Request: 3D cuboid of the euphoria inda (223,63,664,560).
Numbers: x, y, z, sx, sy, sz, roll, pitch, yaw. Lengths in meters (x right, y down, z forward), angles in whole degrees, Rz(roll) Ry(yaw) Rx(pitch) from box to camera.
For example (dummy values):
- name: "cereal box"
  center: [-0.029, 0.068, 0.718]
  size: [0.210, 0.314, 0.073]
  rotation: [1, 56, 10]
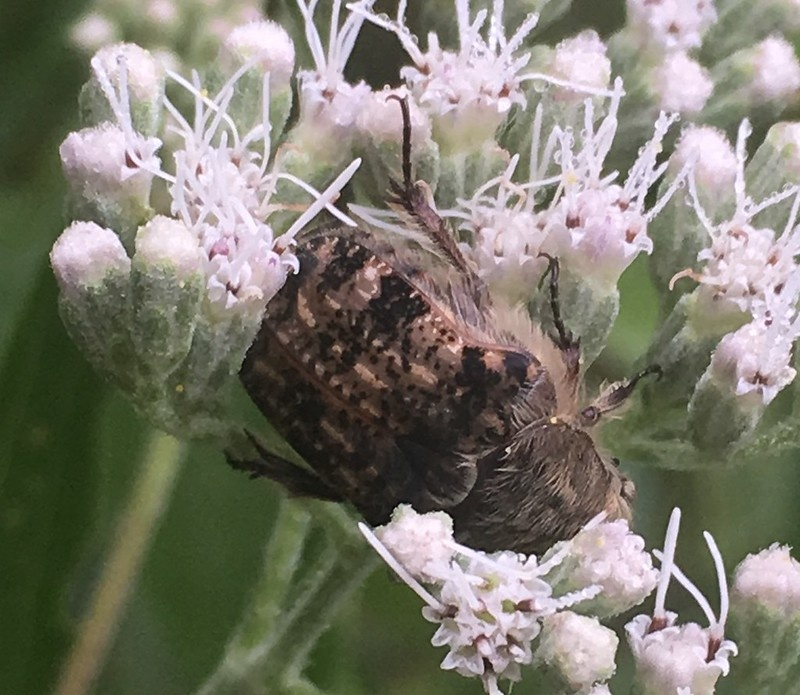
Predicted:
- name: "euphoria inda"
  center: [0.060, -0.001, 1.776]
  size: [0.514, 0.425, 0.166]
  rotation: [38, 28, -5]
